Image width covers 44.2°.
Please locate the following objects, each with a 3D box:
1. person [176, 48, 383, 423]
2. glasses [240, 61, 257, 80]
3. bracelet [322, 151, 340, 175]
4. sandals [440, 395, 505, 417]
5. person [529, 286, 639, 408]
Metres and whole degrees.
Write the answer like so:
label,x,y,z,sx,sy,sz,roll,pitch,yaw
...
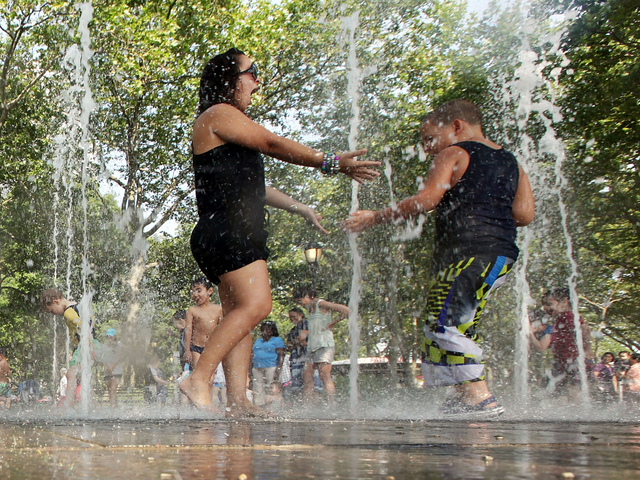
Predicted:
label,x,y,z,sx,sy,sz,roll,pitch,yaw
person,-0.413,-0.160,5.275,0.969,2.574,0.548,2,-11,-10
glasses,-0.491,-1.185,5.544,0.117,0.044,0.115,-21,12,1
bracelet,0.090,-0.525,5.324,0.050,0.136,0.121,-5,-3,-28
sandals,1.027,1.094,5.329,0.427,0.166,0.154,0,-7,18
person,3.413,1.375,10.640,1.032,1.451,2.610,-5,-12,20
